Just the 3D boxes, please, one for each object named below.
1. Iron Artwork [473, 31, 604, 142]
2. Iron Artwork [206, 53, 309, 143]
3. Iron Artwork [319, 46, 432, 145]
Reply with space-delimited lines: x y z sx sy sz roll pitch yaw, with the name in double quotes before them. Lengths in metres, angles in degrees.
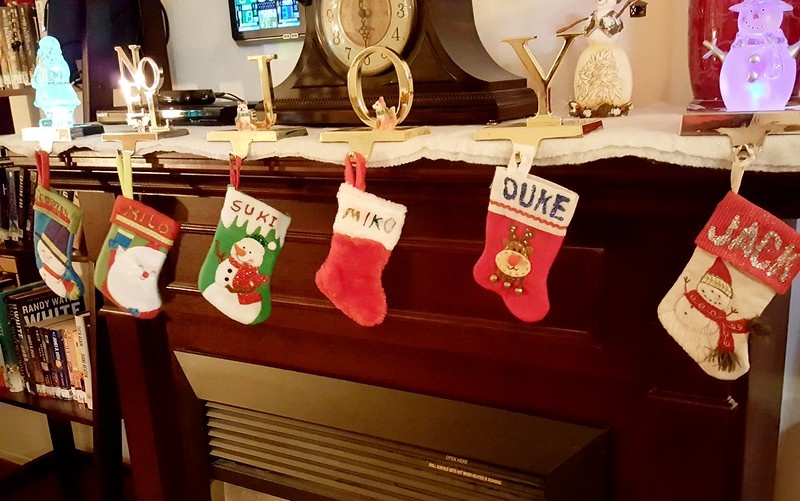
"Iron Artwork" 0.300 -0.337 1.188 0.241 0.213 0.142 8 21 37
"Iron Artwork" -0.343 -0.367 1.369 0.222 0.205 0.126 6 12 28
"Iron Artwork" -0.045 -0.363 1.322 0.224 0.212 0.136 10 34 21
